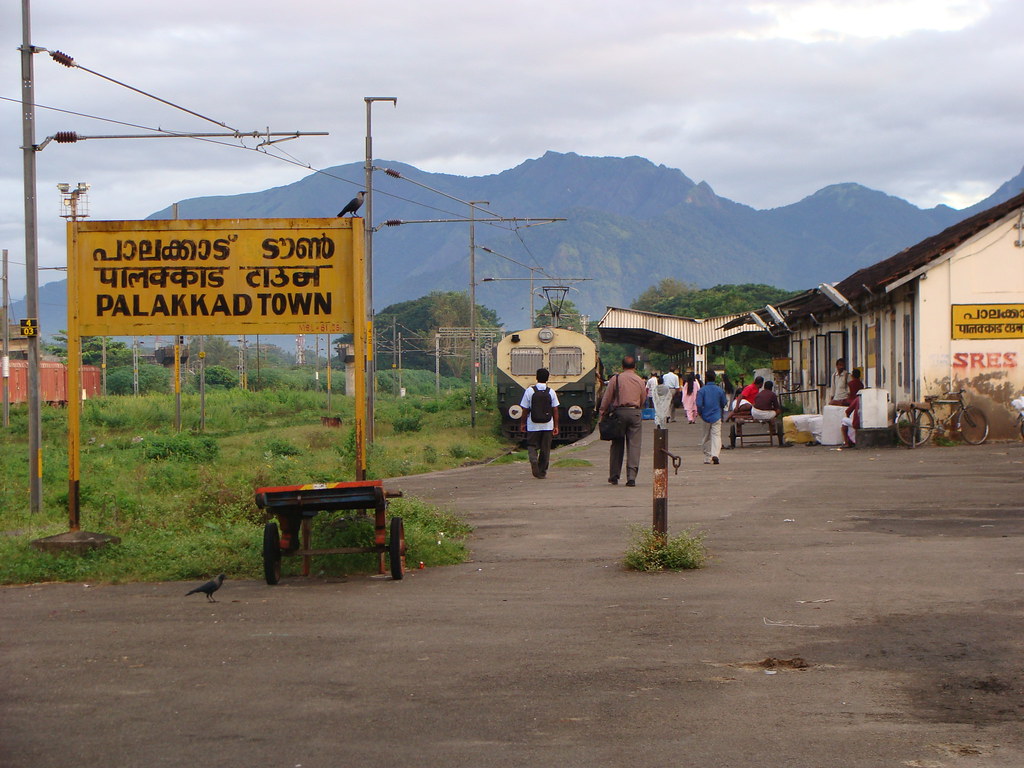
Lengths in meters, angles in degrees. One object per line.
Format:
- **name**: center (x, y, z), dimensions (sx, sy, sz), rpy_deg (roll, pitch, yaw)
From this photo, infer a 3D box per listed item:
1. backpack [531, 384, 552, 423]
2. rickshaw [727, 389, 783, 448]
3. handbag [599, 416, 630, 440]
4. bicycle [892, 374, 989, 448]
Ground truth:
- **backpack**: center (0.463, 0.312, 27.609), dimensions (0.372, 0.560, 0.390), rpy_deg (0, -2, 0)
- **rickshaw**: center (5.259, 0.445, 37.115), dimensions (1.143, 1.607, 1.416), rpy_deg (0, 12, 13)
- **handbag**: center (1.549, 0.643, 26.320), dimensions (0.480, 0.400, 0.323), rpy_deg (0, -2, 17)
- **bicycle**: center (8.257, 0.603, 33.170), dimensions (1.809, 1.183, 0.938), rpy_deg (-1, 1, 1)
